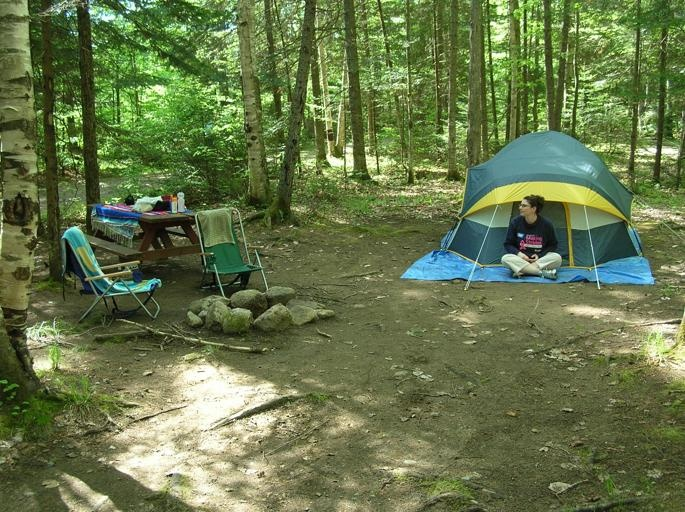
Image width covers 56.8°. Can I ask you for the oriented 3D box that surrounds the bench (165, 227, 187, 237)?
[{"bbox_3d":[-3.205,-0.474,12.342,0.372,0.073,0.340,1,7,-9],"label":"bench"}]

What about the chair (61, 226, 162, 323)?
[{"bbox_3d":[-3.255,0.257,9.148,1.507,0.951,0.928,8,7,-11],"label":"chair"}]

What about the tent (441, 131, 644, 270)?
[{"bbox_3d":[3.904,-1.049,12.487,3.664,1.454,2.904,0,18,10],"label":"tent"}]

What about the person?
[{"bbox_3d":[3.269,-0.362,11.077,0.969,1.396,0.841,-2,11,12],"label":"person"}]

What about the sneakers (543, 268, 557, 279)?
[{"bbox_3d":[3.521,0.301,10.810,0.119,0.100,0.279,-13,18,-17],"label":"sneakers"}]
